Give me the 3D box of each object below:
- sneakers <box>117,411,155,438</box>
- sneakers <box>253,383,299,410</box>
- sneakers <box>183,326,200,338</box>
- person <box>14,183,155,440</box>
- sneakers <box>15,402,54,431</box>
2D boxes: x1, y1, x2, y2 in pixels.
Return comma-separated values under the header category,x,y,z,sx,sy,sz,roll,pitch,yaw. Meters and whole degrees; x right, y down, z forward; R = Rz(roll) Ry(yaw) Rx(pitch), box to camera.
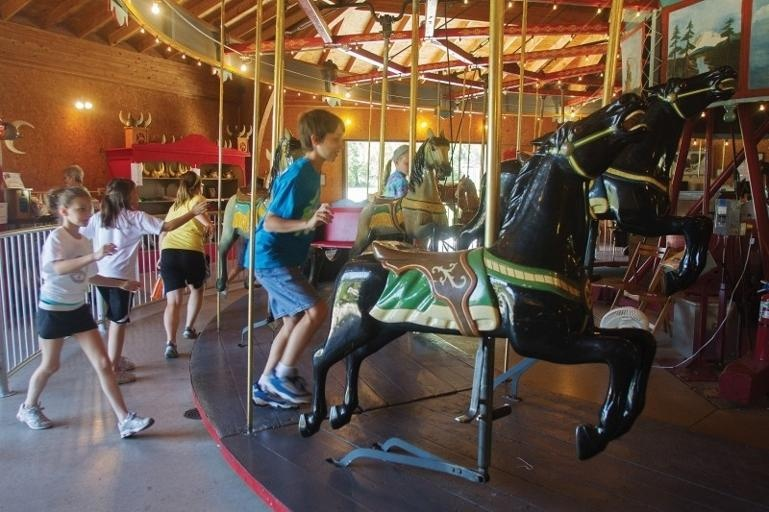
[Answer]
category,x,y,z,sx,sy,sz,roll,pitch,yaw
sneakers,-2.070,1.388,5.466,0.280,0.203,0.234,-2,9,-18
sneakers,-0.833,1.131,5.379,0.433,0.217,0.165,3,2,1
sneakers,-2.210,0.871,7.526,0.091,0.105,0.223,5,-10,8
person,-2.559,0.455,5.467,1.124,2.024,0.410,4,9,21
sneakers,-2.961,1.366,5.646,0.341,0.173,0.149,26,7,8
